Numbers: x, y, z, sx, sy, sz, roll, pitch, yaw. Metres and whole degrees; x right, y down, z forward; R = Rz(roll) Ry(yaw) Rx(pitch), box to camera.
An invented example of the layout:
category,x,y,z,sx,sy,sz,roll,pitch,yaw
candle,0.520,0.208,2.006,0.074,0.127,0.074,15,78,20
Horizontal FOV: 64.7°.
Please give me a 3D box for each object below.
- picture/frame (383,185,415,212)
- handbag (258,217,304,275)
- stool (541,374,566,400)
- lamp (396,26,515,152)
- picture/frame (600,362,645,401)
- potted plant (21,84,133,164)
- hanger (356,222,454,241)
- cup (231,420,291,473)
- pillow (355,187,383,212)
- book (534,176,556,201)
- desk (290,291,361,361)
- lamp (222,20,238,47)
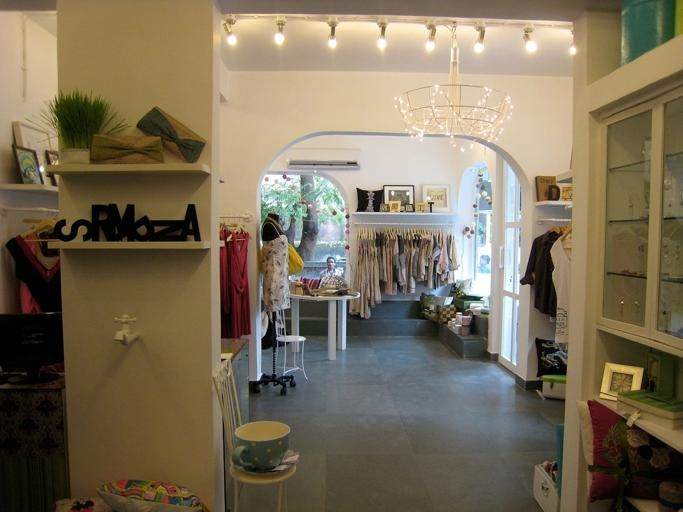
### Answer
category,x,y,z,sx,sy,sz,roll,pitch,yaw
picture/frame,0.926,-0.945,8.895,0.404,0.407,0.047,0,-16,-8
handbag,-0.739,-0.069,6.594,0.494,0.943,0.708,-10,-4,0
stool,2.203,1.334,5.699,0.287,0.253,0.319,0,-3,13
lamp,1.190,-1.876,5.595,1.021,1.175,1.108,4,6,27
picture/frame,1.730,0.778,3.318,0.198,0.225,0.018,-8,-31,44
potted plant,-1.526,-0.783,3.198,0.442,0.417,0.232,2,9,15
hanger,0.989,-0.401,8.819,1.574,0.228,0.294,0,9,-2
cup,-0.489,1.148,3.156,0.300,0.246,0.382,1,5,34
pillow,0.446,-0.911,8.826,0.338,0.359,0.135,1,-14,-8
book,2.191,-0.731,5.760,0.245,0.387,0.063,0,-1,2
desk,-0.242,0.873,7.471,0.828,0.709,0.887,2,5,25
lamp,-0.997,-1.989,4.797,0.087,0.136,0.093,-24,-36,10
